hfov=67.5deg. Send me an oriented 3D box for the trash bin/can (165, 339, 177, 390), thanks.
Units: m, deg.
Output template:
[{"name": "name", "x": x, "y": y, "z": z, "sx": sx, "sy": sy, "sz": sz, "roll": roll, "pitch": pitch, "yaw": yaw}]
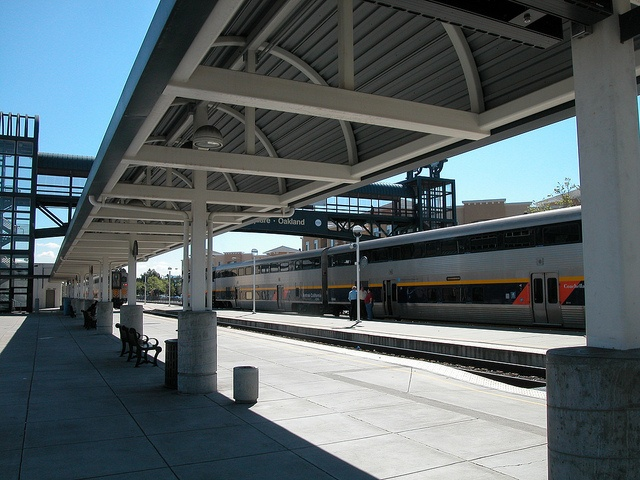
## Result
[{"name": "trash bin/can", "x": -3.033, "y": 2.530, "z": 9.783, "sx": 0.206, "sy": 0.921, "sz": 0.450, "roll": 0, "pitch": -5, "yaw": -20}]
